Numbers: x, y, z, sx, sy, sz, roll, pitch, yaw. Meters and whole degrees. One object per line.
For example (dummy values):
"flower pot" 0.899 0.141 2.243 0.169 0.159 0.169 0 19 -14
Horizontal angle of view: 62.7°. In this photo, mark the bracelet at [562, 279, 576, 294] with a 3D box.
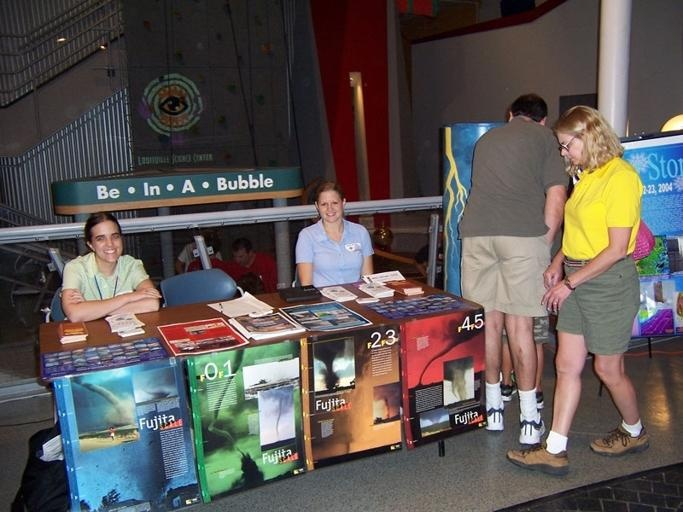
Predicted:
"bracelet" 1.253 0.167 3.100 0.019 0.072 0.054 -32 -2 9

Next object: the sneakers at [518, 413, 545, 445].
"sneakers" 1.174 1.062 3.492 0.105 0.167 0.255 0 11 18

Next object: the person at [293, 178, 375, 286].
"person" -0.074 -0.163 3.919 0.556 0.710 0.182 -9 9 -6

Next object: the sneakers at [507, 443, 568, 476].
"sneakers" 1.139 1.176 3.308 0.367 0.155 0.134 4 8 24

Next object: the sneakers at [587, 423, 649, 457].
"sneakers" 1.675 1.131 3.458 0.383 0.167 0.143 -4 5 -2

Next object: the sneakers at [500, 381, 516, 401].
"sneakers" 1.204 0.968 4.031 0.092 0.109 0.247 -2 -1 9

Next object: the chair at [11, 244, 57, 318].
"chair" -2.196 0.152 4.020 0.322 0.263 0.465 -10 -5 -43

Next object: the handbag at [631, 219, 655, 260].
"handbag" 1.949 -0.121 3.633 0.220 0.277 0.111 -19 13 -34
